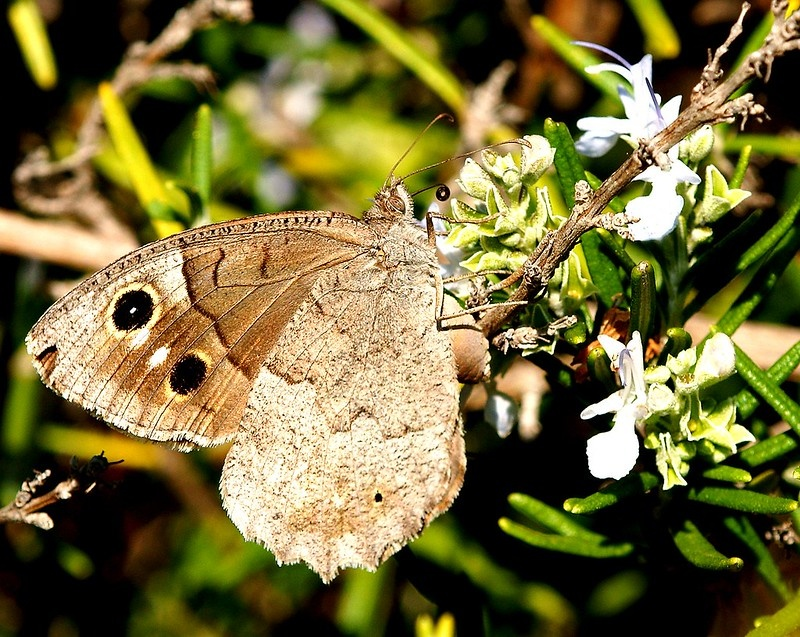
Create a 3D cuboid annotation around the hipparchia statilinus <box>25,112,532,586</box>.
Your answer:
[{"bbox_3d":[-0.347,0.104,3.804,1.624,0.756,1.836,31,90,13],"label":"hipparchia statilinus"}]

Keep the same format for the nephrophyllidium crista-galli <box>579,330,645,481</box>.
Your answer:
[{"bbox_3d":[0.614,0.262,3.009,0.214,0.335,0.434,0,100,9],"label":"nephrophyllidium crista-galli"}]
